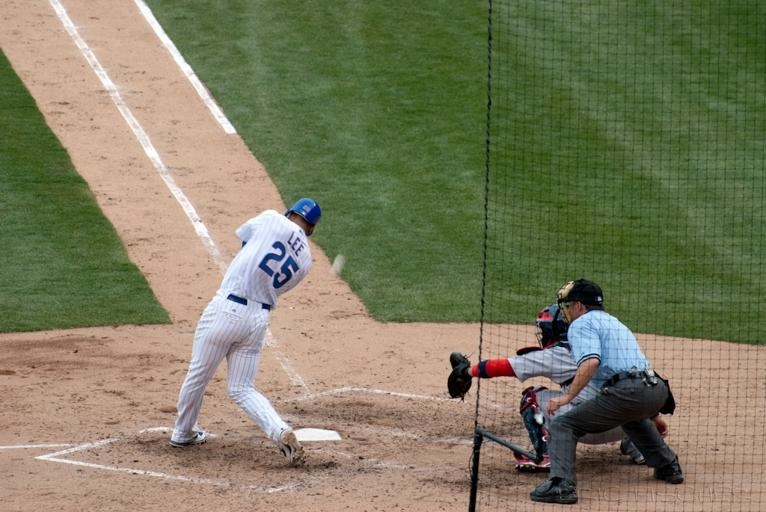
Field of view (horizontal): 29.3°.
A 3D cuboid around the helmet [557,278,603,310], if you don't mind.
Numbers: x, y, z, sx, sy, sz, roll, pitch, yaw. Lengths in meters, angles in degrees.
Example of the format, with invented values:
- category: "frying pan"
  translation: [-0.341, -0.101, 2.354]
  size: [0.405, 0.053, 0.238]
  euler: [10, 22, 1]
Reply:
- category: "helmet"
  translation: [2.699, 0.512, 19.682]
  size: [0.587, 0.286, 0.374]
  euler: [5, 5, 16]

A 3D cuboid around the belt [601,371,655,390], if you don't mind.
- category: "belt"
  translation: [3.312, 1.626, 19.448]
  size: [0.417, 0.117, 0.337]
  euler: [-9, -10, 23]

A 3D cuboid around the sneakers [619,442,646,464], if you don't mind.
- category: "sneakers"
  translation: [3.439, 2.708, 20.053]
  size: [0.338, 0.117, 0.245]
  euler: [43, 21, 13]

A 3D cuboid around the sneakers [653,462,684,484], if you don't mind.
- category: "sneakers"
  translation: [3.854, 2.935, 19.631]
  size: [0.455, 0.247, 0.223]
  euler: [-2, 1, 41]

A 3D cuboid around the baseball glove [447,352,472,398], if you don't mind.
- category: "baseball glove"
  translation: [1.089, 1.696, 20.359]
  size: [0.367, 0.645, 0.277]
  euler: [0, -22, 24]

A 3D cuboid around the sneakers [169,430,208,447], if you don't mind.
- category: "sneakers"
  translation: [-2.627, 2.539, 20.251]
  size: [0.519, 0.208, 0.196]
  euler: [-10, 34, -33]

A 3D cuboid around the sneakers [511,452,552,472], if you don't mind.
- category: "sneakers"
  translation: [2.014, 2.842, 20.023]
  size: [0.643, 0.187, 0.221]
  euler: [10, 39, -3]
